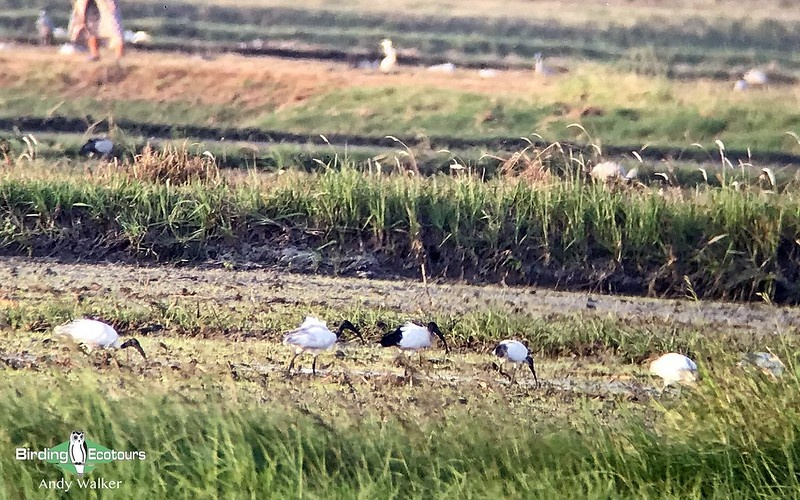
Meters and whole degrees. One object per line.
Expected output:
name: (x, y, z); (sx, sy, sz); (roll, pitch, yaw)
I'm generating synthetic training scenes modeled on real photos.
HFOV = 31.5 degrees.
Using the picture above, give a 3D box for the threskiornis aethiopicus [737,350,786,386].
threskiornis aethiopicus: (2.744, 0.869, 10.730); (0.355, 0.162, 0.272); (1, 9, 20)

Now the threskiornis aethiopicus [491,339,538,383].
threskiornis aethiopicus: (0.956, 0.836, 10.837); (0.163, 0.219, 0.549); (27, 2, 40)

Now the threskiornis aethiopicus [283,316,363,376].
threskiornis aethiopicus: (-0.578, 0.708, 10.781); (0.180, 0.455, 0.556); (-4, 10, -37)

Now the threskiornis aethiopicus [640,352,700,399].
threskiornis aethiopicus: (2.079, 0.919, 10.771); (0.404, 0.255, 0.218); (1, 9, 21)
